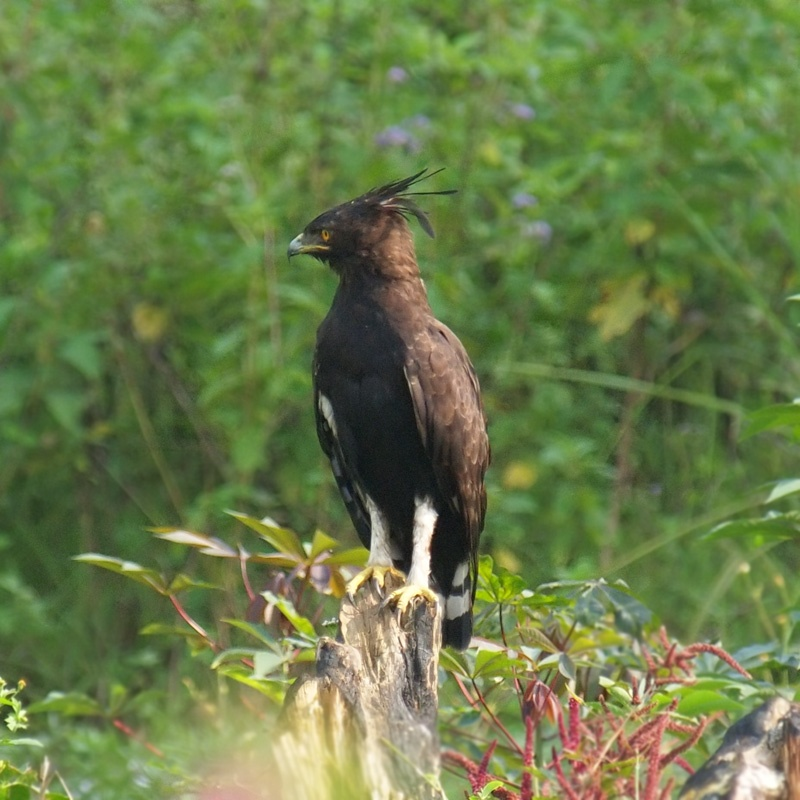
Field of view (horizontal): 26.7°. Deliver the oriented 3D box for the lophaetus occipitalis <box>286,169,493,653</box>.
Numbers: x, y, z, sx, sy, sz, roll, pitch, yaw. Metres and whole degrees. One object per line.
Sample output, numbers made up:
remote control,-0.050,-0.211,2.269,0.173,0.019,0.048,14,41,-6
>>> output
lophaetus occipitalis,0.005,0.044,5.829,0.583,1.469,1.056,-10,23,-3
